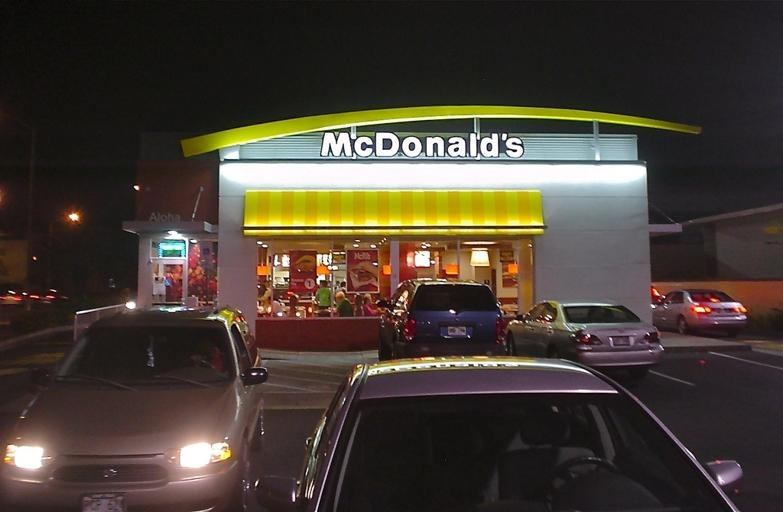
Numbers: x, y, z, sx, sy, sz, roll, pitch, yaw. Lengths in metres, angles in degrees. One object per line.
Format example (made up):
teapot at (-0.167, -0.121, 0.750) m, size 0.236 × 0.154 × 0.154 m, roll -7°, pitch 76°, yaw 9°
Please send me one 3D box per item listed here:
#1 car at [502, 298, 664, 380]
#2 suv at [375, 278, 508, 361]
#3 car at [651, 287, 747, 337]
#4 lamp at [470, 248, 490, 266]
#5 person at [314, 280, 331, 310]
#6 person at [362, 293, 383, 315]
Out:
car at (4.092, 1.960, 14.343) m, size 1.745 × 1.177 × 3.815 m, roll 1°, pitch -1°, yaw -12°
suv at (0.883, 1.485, 13.102) m, size 1.783 × 1.896 × 3.091 m, roll 0°, pitch 1°, yaw -34°
car at (11.220, 2.084, 21.828) m, size 1.399 × 1.557 × 3.159 m, roll 0°, pitch 1°, yaw -13°
lamp at (3.141, 0.068, 21.329) m, size 0.625 × 0.539 × 0.633 m, roll -1°, pitch 0°, yaw 10°
person at (-2.190, 1.272, 19.068) m, size 0.537 × 0.945 × 0.234 m, roll 0°, pitch 0°, yaw -9°
person at (-0.686, 1.586, 18.748) m, size 0.838 × 0.783 × 0.226 m, roll 5°, pitch -8°, yaw 2°
